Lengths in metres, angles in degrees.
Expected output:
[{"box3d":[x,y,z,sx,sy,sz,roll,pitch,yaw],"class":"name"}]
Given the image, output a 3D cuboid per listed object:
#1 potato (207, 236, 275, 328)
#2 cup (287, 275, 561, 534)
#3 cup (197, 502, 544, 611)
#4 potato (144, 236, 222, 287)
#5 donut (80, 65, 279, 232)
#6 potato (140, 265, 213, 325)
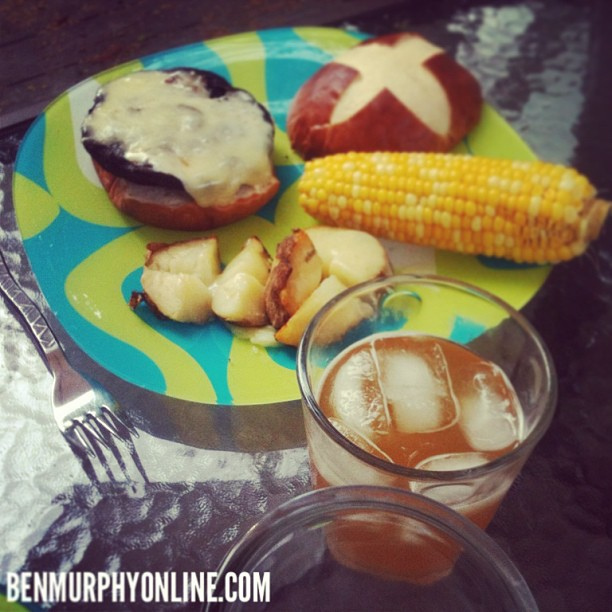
[{"box3d":[-0.090,-0.027,1.071,0.128,0.041,0.121,-35,43,-4],"class":"potato"},{"box3d":[0.120,0.115,0.852,0.319,0.220,0.282,-1,46,0],"class":"cup"},{"box3d":[0.049,0.202,0.587,0.258,0.057,0.079,-1,48,2],"class":"cup"},{"box3d":[-0.191,-0.071,1.131,0.101,0.036,0.079,6,45,0],"class":"potato"},{"box3d":[-0.213,-0.282,1.210,0.325,0.093,0.283,7,63,-15],"class":"donut"},{"box3d":[-0.193,-0.020,1.051,0.098,0.033,0.077,11,59,-17],"class":"potato"}]
